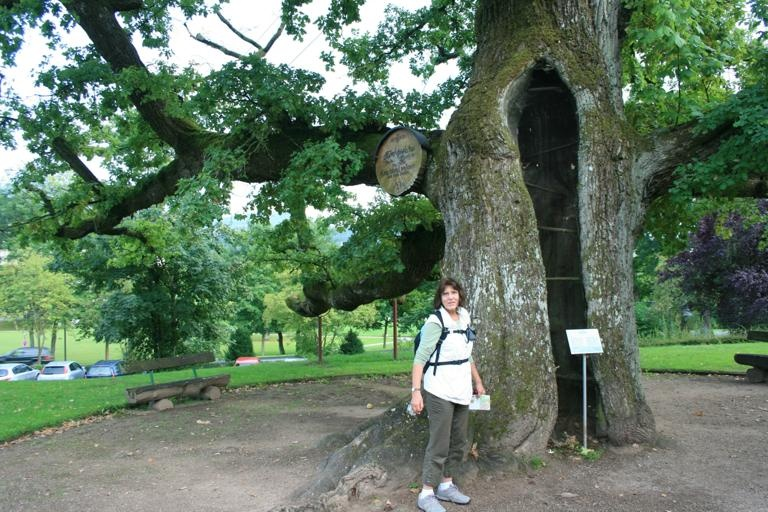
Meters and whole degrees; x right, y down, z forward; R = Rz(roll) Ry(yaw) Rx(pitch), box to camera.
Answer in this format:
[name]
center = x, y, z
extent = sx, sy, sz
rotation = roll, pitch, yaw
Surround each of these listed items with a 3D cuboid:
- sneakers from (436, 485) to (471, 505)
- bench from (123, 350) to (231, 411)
[sneakers]
center = 1.154, 4.005, 9.784
extent = 0.543, 0.242, 0.263
rotation = 2, -4, 4
[bench]
center = -6.319, 3.844, 17.893
extent = 1.110, 1.399, 3.326
rotation = 4, 0, 35
